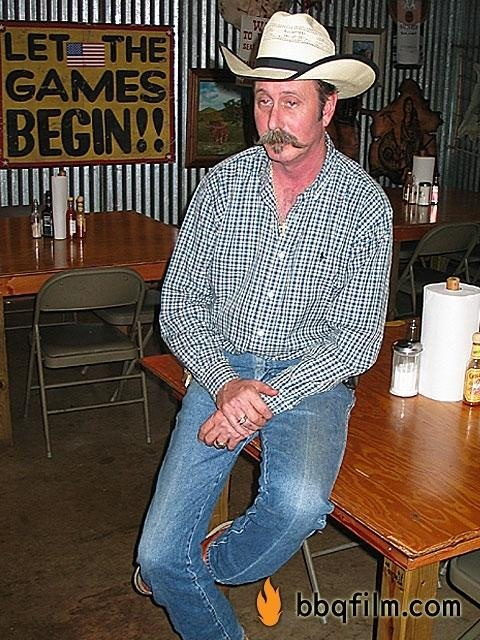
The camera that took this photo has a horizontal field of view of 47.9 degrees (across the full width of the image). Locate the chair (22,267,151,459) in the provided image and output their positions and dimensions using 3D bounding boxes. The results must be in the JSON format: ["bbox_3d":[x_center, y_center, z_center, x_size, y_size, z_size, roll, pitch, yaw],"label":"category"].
[{"bbox_3d":[-0.968,0.172,3.366,0.792,1.004,0.703,-2,13,-18],"label":"chair"}]
